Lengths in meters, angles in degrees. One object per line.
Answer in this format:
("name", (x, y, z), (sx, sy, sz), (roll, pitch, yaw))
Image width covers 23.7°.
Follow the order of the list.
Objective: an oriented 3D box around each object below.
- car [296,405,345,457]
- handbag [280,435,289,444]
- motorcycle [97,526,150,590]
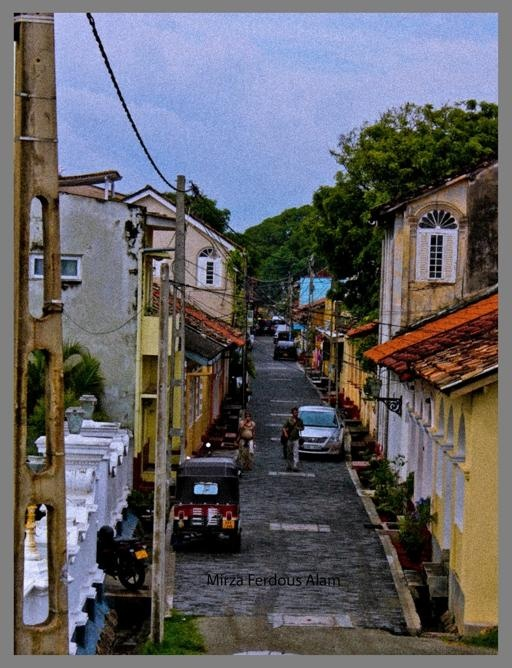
("car", (1.524, 2.368, 29.524), (0.890, 0.788, 1.848), (0, -6, 3))
("handbag", (0.607, 2.334, 27.287), (0.160, 0.202, 0.328), (0, -3, 8))
("motorcycle", (-1.907, 3.020, 16.741), (0.875, 0.690, 0.484), (11, 11, 28))
